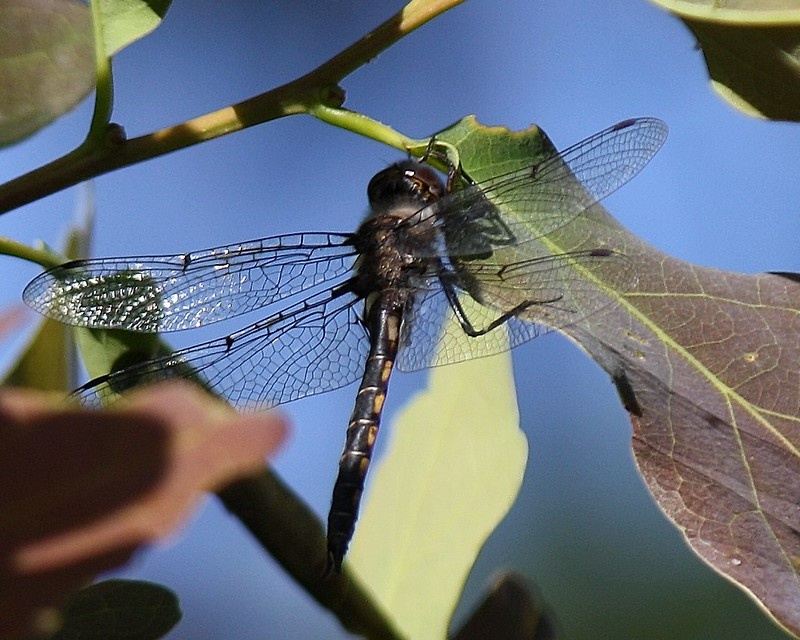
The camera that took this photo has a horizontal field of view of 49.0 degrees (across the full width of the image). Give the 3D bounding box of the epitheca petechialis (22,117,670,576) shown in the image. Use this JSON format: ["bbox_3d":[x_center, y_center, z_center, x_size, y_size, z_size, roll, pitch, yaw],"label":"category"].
[{"bbox_3d":[-0.183,0.119,1.650,1.194,0.583,0.964,-5,102,-27],"label":"epitheca petechialis"}]
